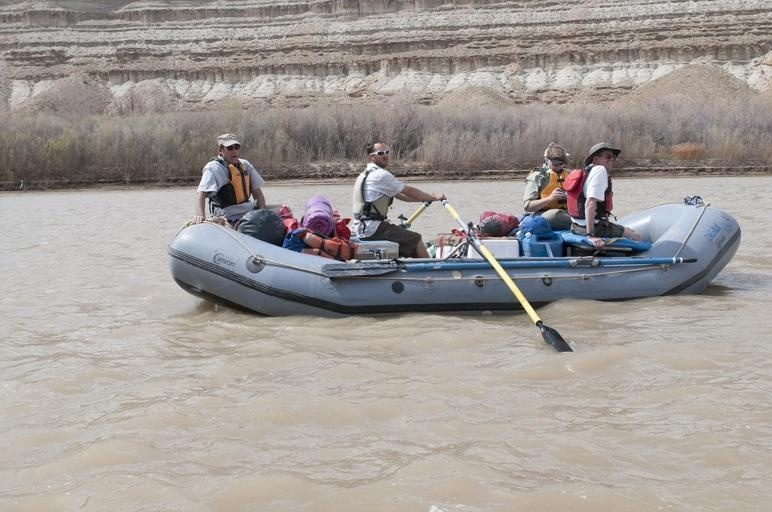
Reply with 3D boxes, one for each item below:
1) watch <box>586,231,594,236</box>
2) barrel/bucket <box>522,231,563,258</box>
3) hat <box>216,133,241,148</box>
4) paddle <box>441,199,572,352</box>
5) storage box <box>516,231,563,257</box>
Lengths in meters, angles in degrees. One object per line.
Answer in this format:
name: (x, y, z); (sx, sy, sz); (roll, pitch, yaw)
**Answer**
watch: (2.673, -0.283, 12.322); (0.076, 0.024, 0.078); (2, -15, 8)
barrel/bucket: (2.056, -0.129, 12.382); (0.658, 0.252, 0.379); (0, 4, -3)
hat: (-2.146, -1.549, 12.793); (0.311, 0.129, 0.343); (-1, -1, -25)
paddle: (1.284, 0.030, 12.159); (0.412, 0.415, 3.710); (19, 20, -41)
storage box: (2.049, -0.127, 12.381); (0.693, 0.268, 0.383); (0, 4, -4)
